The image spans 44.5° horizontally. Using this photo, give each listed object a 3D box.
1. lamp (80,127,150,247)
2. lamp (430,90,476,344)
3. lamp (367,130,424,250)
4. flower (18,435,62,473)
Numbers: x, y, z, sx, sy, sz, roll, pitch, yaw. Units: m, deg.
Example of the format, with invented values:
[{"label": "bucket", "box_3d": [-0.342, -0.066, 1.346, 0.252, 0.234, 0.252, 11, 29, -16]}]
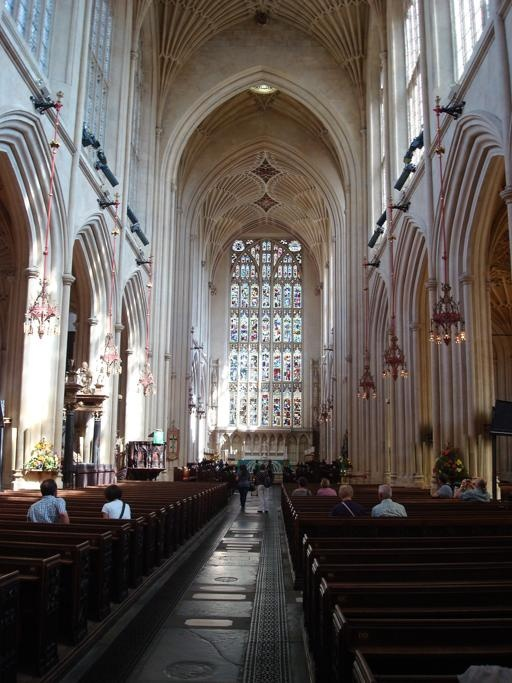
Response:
[{"label": "lamp", "box_3d": [-3.862, -4.293, 17.154, 0.446, 2.375, 0.640, -26, 9, 35]}, {"label": "lamp", "box_3d": [3.590, -2.457, 11.901, 0.897, 5.130, 0.922, 6, -11, -30]}, {"label": "lamp", "box_3d": [3.946, -4.399, 16.408, 0.604, 2.336, 0.831, 24, -10, -33]}, {"label": "flower", "box_3d": [-3.987, 2.111, 11.633, 0.574, 0.558, 0.569, 3, -13, -18]}]
